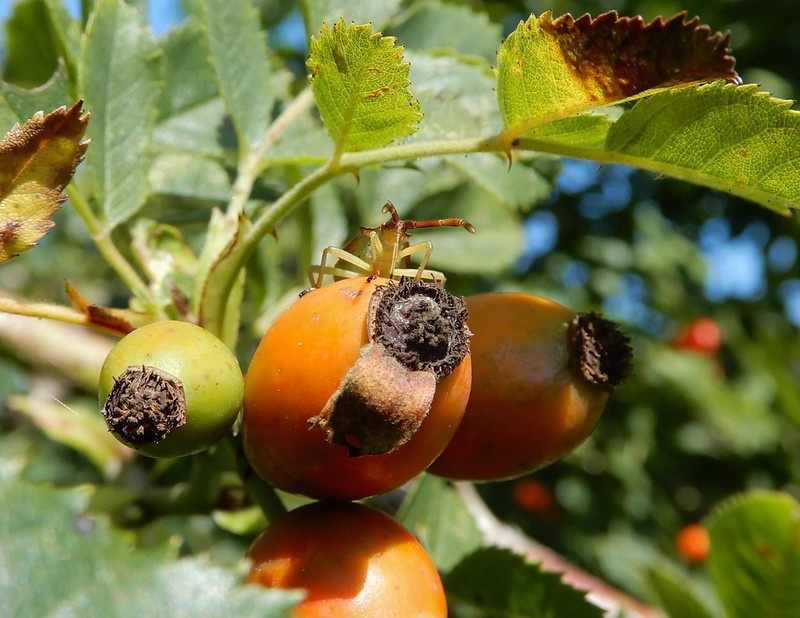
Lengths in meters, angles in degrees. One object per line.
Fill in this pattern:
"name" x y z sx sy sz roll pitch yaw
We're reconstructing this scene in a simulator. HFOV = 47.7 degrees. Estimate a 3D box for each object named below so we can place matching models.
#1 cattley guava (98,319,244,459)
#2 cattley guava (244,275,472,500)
"cattley guava" -0.460 0.153 1.774 0.243 0.308 0.239 17 102 20
"cattley guava" -0.064 0.171 1.814 0.440 0.344 0.355 -19 61 31
